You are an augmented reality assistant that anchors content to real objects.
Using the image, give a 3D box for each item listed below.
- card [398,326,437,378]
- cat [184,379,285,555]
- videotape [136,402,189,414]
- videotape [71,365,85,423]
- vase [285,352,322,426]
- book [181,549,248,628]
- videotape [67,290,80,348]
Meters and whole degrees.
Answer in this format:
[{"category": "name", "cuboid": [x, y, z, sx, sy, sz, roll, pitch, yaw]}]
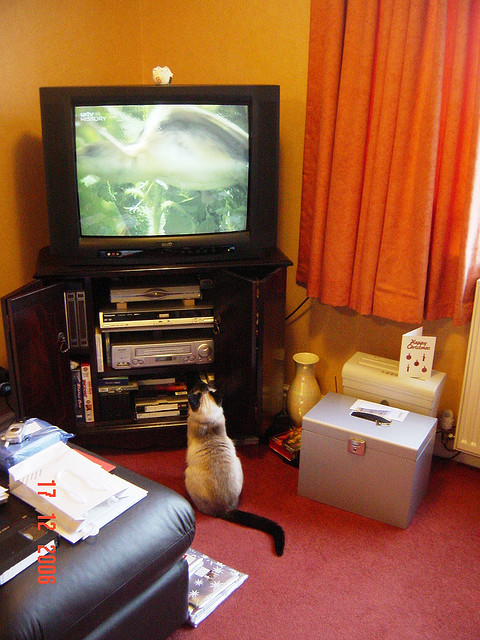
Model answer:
[{"category": "card", "cuboid": [0.664, 0.122, 1.846, 0.098, 0.199, 0.093, 4, 23, 17]}, {"category": "cat", "cuboid": [-0.060, 0.486, 1.651, 0.185, 0.387, 0.678, 3, 9, -23]}, {"category": "videotape", "cuboid": [-0.332, 0.369, 2.125, 0.217, 0.039, 0.007, -2, 11, -10]}, {"category": "videotape", "cuboid": [-0.660, 0.304, 2.035, 0.040, 0.251, 0.037, -4, 12, -22]}, {"category": "vase", "cuboid": [0.290, 0.316, 2.235, 0.158, 0.318, 0.164, 12, 17, 43]}, {"category": "book", "cuboid": [-0.088, 0.676, 1.385, 0.168, 0.053, 0.179, 15, 23, 40]}, {"category": "videotape", "cuboid": [-0.630, -0.024, 1.898, 0.041, 0.286, 0.034, -3, 28, -25]}]
